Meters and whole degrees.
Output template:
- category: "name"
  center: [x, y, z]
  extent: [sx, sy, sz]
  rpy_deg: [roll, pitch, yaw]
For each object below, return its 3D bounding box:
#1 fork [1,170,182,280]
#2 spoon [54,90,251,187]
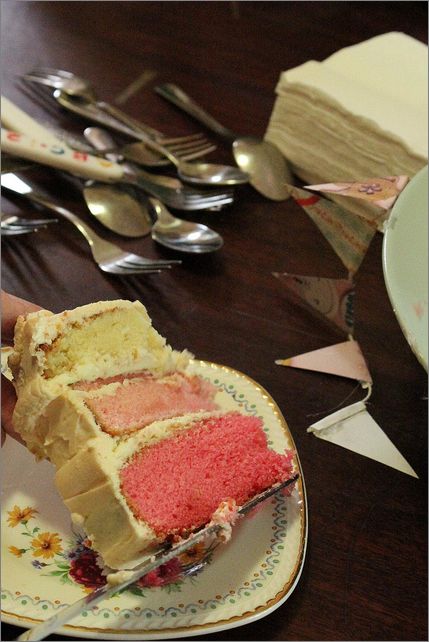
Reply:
- category: "fork"
  center: [-0.294, -0.214, 1.506]
  extent: [0.452, 0.060, 0.063]
  rpy_deg: [33, 58, 29]
- category: "spoon"
  center: [-0.172, -0.463, 1.684]
  extent: [0.539, 0.065, 0.094]
  rpy_deg: [29, 50, 21]
